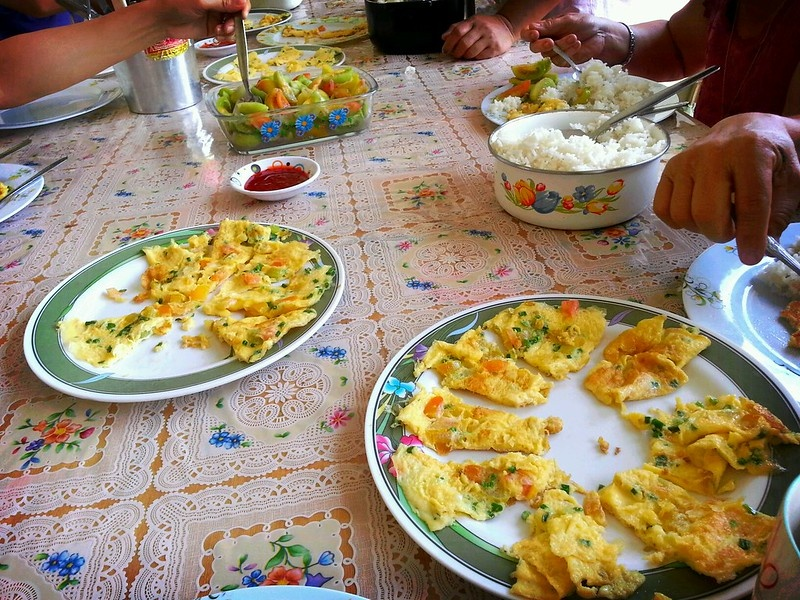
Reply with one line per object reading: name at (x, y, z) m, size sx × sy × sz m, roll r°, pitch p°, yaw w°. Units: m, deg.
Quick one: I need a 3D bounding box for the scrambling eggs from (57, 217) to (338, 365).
scrambling eggs at (-0.503, -0.032, 1.448) m, size 0.466 × 0.053 × 0.407 m, roll 7°, pitch 42°, yaw 11°

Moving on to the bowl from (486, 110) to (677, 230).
bowl at (0.538, -0.387, 1.674) m, size 0.500 × 0.188 × 0.485 m, roll -6°, pitch 34°, yaw 4°
